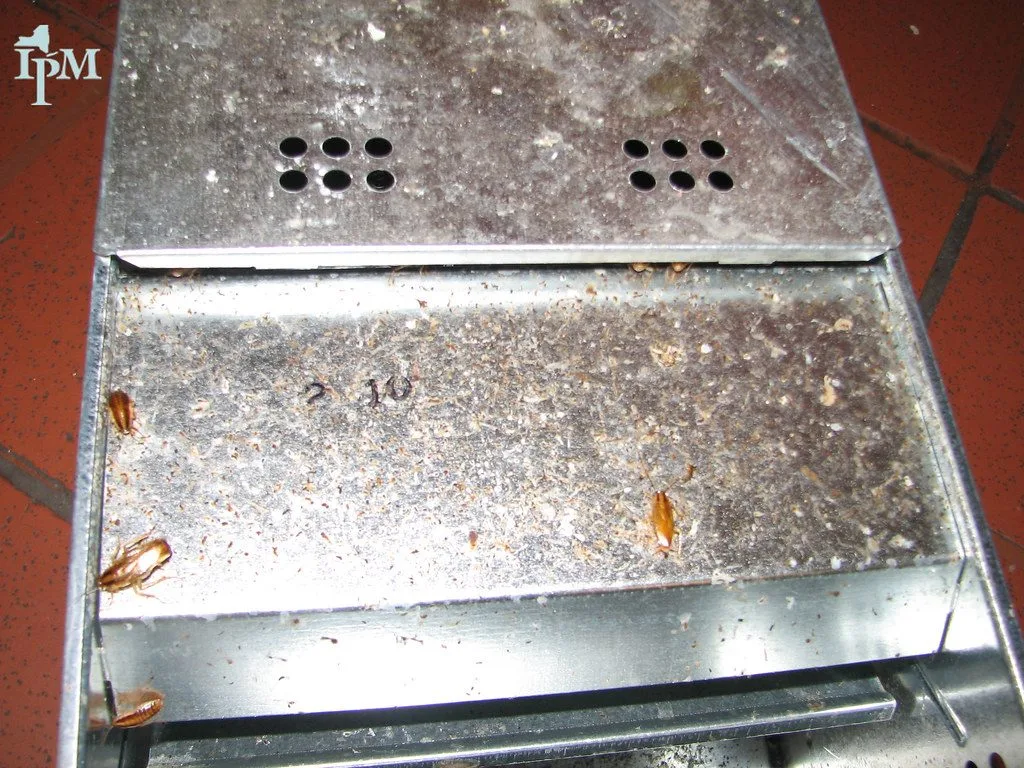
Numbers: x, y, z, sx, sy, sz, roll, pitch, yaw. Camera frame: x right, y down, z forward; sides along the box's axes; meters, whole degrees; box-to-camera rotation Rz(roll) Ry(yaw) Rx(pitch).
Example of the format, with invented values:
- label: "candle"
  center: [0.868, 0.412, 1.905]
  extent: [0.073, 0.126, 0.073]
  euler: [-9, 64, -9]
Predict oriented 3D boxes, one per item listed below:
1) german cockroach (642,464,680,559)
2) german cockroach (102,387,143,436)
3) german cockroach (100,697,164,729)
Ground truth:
- label: "german cockroach"
  center: [0.184, 0.165, 1.185]
  extent: [0.039, 0.014, 0.069]
  euler: [4, 65, -20]
- label: "german cockroach"
  center: [-0.462, 0.032, 1.159]
  extent: [0.039, 0.014, 0.048]
  euler: [-2, 76, -38]
- label: "german cockroach"
  center: [-0.456, 0.406, 1.185]
  extent: [0.044, 0.010, 0.043]
  euler: [-25, 62, -36]
